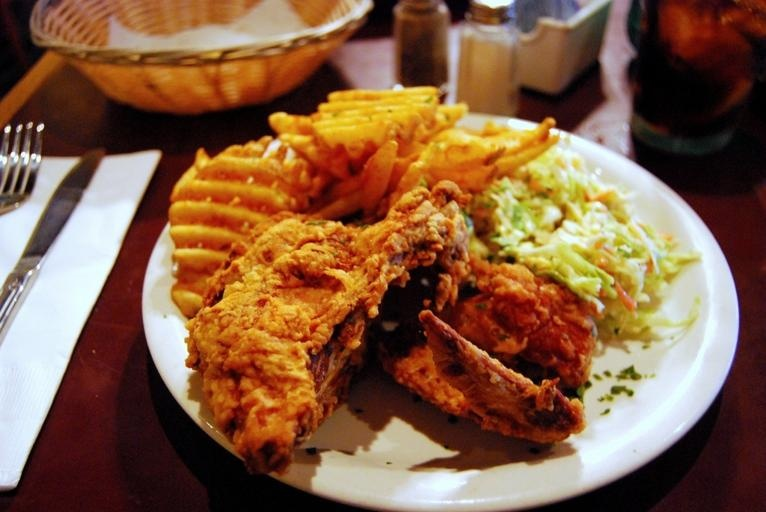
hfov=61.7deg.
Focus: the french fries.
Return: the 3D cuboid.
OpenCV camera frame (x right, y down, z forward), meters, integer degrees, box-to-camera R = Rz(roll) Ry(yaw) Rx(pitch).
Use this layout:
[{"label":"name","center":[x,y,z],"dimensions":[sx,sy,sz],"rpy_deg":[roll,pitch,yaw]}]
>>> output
[{"label":"french fries","center":[0.171,-0.464,2.843],"dimensions":[0.952,0.476,0.710],"rpy_deg":[-16,23,-37]}]
